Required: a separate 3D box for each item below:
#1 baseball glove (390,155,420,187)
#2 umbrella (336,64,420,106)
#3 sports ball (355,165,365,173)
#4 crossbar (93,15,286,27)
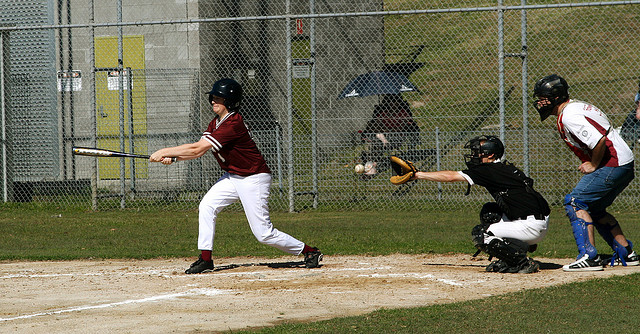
[{"bbox_3d":[1.971,0.069,23.043,0.617,0.645,0.370,-1,3,0],"label":"baseball glove"},{"bbox_3d":[1.814,-2.531,30.251,2.240,0.721,0.959,-1,3,6],"label":"umbrella"},{"bbox_3d":[1.158,0.067,28.232,0.236,0.184,0.226,0,2,0],"label":"sports ball"},{"bbox_3d":[-3.548,-4.106,27.649,5.306,0.236,1.080,-1,2,2],"label":"crossbar"}]
